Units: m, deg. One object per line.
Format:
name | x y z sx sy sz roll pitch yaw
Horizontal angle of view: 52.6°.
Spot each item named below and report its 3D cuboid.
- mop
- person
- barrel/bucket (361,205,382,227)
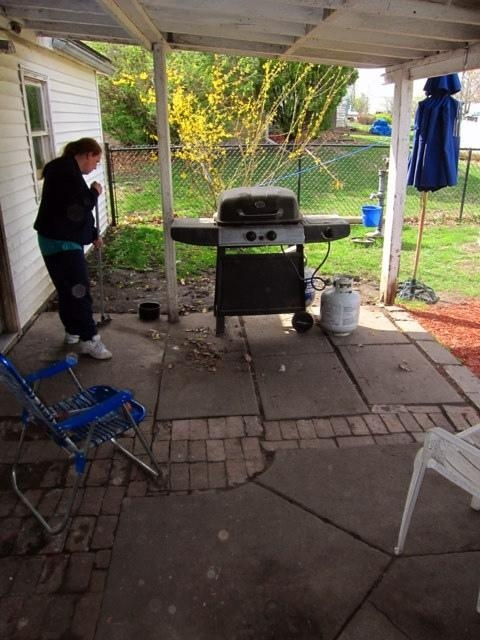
mop | 2.035 -0.727 5.544 0.517 1.358 0.469 6 22 11
person | -1.325 -0.586 3.918 0.588 1.686 0.666 -1 21 -24
barrel/bucket | 2.264 -1.794 8.384 0.345 0.280 0.360 -3 21 1
